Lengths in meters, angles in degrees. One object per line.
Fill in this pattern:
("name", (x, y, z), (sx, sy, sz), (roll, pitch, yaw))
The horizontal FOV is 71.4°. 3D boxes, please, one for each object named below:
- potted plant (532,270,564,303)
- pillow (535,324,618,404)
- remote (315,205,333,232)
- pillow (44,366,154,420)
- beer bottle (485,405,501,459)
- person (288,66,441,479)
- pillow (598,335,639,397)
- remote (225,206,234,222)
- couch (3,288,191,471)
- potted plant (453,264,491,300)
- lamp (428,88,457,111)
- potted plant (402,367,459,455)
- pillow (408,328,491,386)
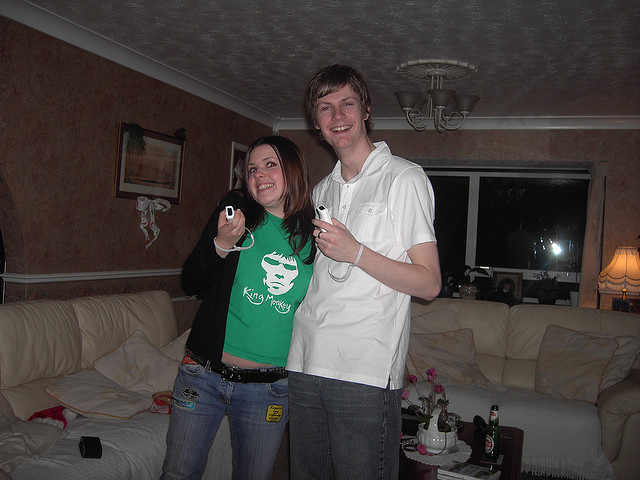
("potted plant", (2.957, 0.521, 5.881), (0.361, 0.338, 0.250), (8, 30, 20))
("pillow", (2.208, 1.084, 3.895), (0.180, 0.552, 0.575), (27, -6, -34))
("remote", (0.016, -0.070, 1.442), (0.047, 0.083, 0.020), (-21, -5, 3))
("pillow", (-1.403, 1.058, 2.997), (0.469, 0.087, 0.519), (19, -3, 5))
("beer bottle", (1.043, 1.121, 2.667), (0.087, 0.267, 0.150), (7, 3, 23))
("person", (0.145, 0.115, 1.598), (0.494, 1.485, 0.421), (5, 3, -5))
("pillow", (2.516, 1.022, 3.806), (0.130, 0.437, 0.388), (24, 8, 23))
("remote", (-0.322, -0.094, 1.583), (0.030, 0.047, 0.044), (7, -11, -29))
("couch", (-1.444, 0.879, 2.796), (0.554, 0.501, 1.154), (8, 0, 12))
("potted plant", (1.952, 0.540, 5.789), (0.552, 0.546, 0.373), (9, -14, -20))
("lamp", (1.050, -1.165, 3.770), (0.188, 0.133, 0.180), (1, 2, 9))
("potted plant", (0.693, 1.045, 2.740), (0.298, 0.468, 0.304), (-8, -3, 8))
("pillow", (1.201, 1.062, 4.152), (0.748, 0.402, 0.252), (5, 3, -3))
